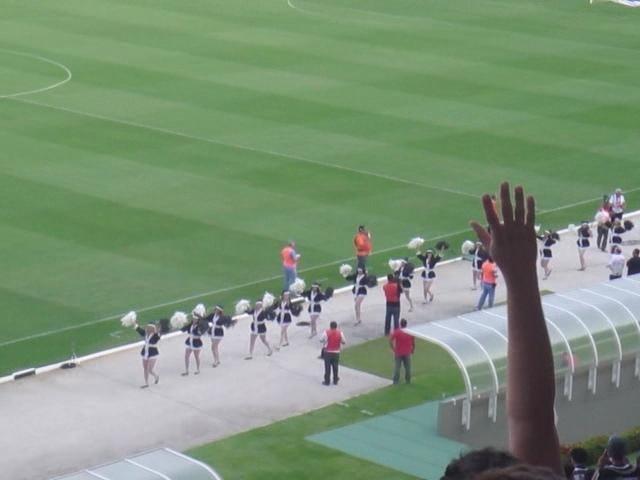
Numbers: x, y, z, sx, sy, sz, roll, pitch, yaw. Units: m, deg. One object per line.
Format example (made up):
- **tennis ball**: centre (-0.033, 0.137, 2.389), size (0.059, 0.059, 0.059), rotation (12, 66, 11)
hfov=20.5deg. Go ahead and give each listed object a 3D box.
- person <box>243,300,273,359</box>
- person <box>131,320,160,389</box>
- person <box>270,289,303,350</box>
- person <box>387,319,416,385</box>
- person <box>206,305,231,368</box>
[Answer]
- **person**: centre (-2.341, 3.263, 66.398), size (0.932, 1.962, 1.111), rotation (-10, 18, -35)
- **person**: centre (-6.403, 4.144, 64.743), size (1.104, 2.218, 0.863), rotation (8, 15, 19)
- **person**: centre (-1.328, 2.951, 67.081), size (0.971, 2.069, 1.013), rotation (-10, 18, -39)
- **person**: centre (2.992, 3.949, 64.533), size (1.143, 2.137, 0.974), rotation (1, 12, 9)
- **person**: centre (-3.867, 3.507, 65.793), size (1.010, 2.086, 0.861), rotation (13, 18, 32)
